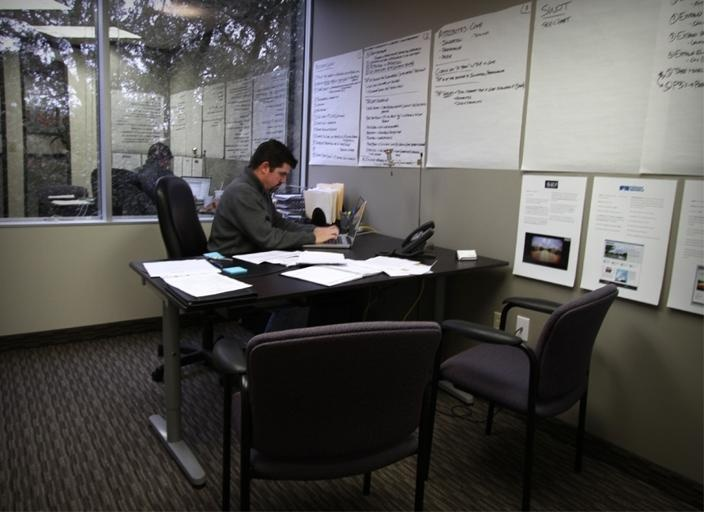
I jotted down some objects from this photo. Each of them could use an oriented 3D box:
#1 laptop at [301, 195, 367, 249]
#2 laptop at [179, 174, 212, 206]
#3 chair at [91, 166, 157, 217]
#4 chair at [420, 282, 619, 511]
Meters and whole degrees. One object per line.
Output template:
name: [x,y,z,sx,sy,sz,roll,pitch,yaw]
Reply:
laptop: [-0.093,-0.218,3.137,0.354,0.253,0.398,-1,9,-8]
laptop: [-1.241,-0.559,3.882,0.283,0.292,0.225,-7,14,-37]
chair: [-1.751,-0.493,3.623,0.373,0.401,0.383,-4,11,-38]
chair: [0.832,0.712,2.252,0.725,1.191,0.737,-8,14,-41]
